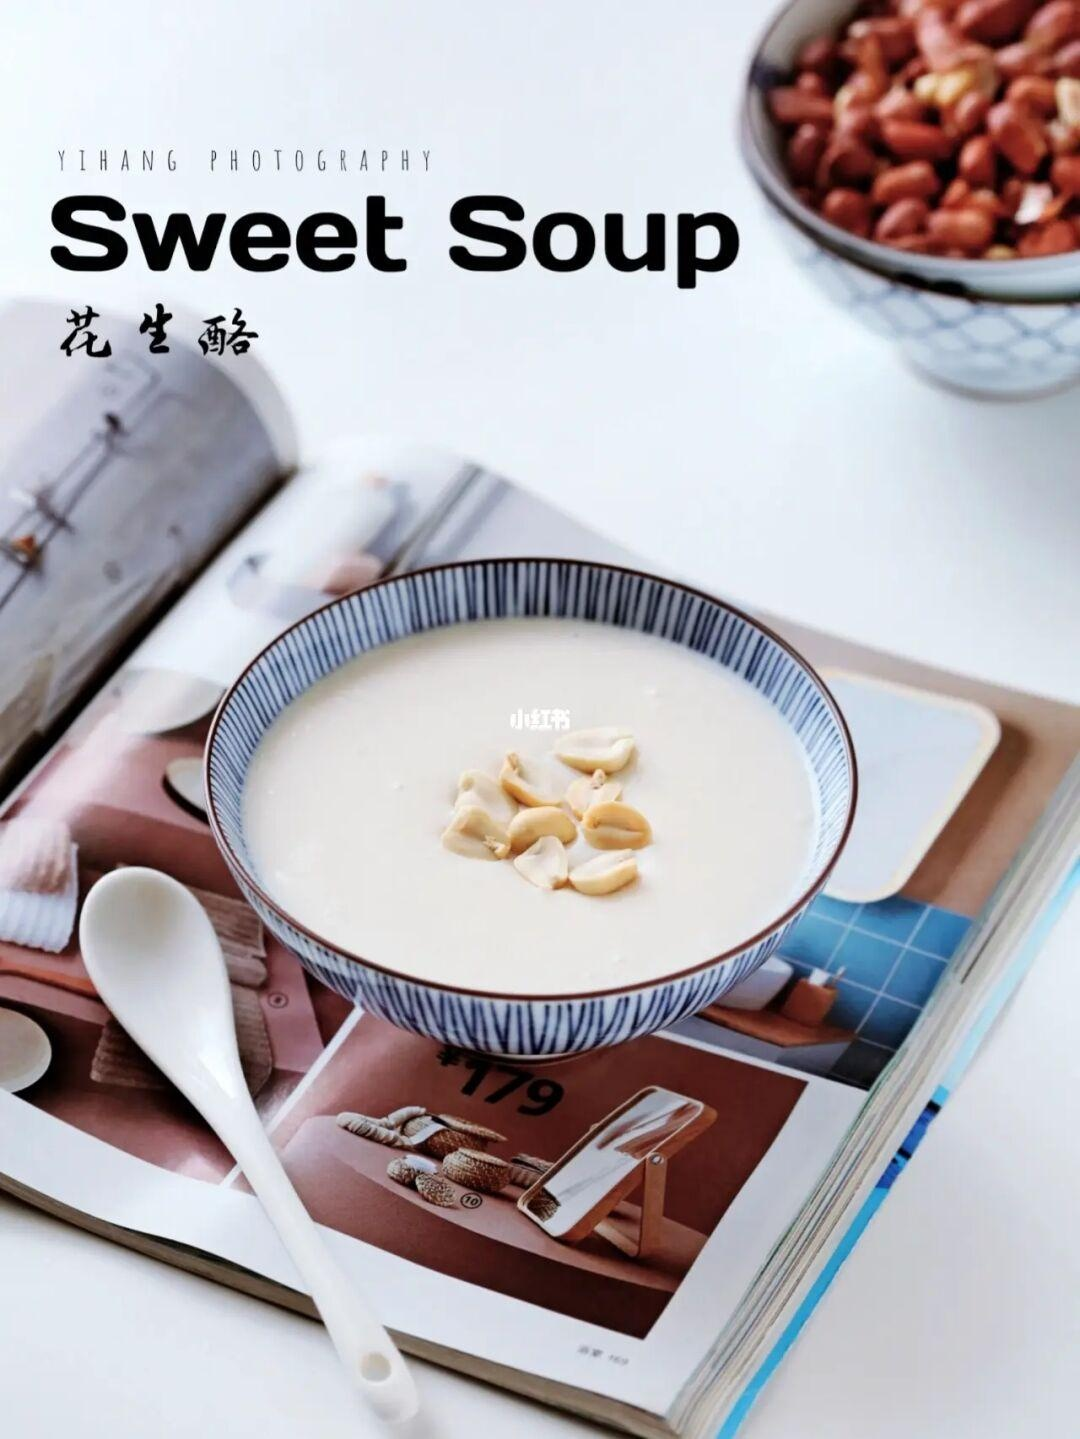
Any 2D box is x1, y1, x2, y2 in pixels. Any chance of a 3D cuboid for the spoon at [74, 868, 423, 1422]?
[{"bbox_3d":[-0.142,0.117,0.535,0.071,0.053,0.344,-20,49,-22],"label":"spoon"}]
